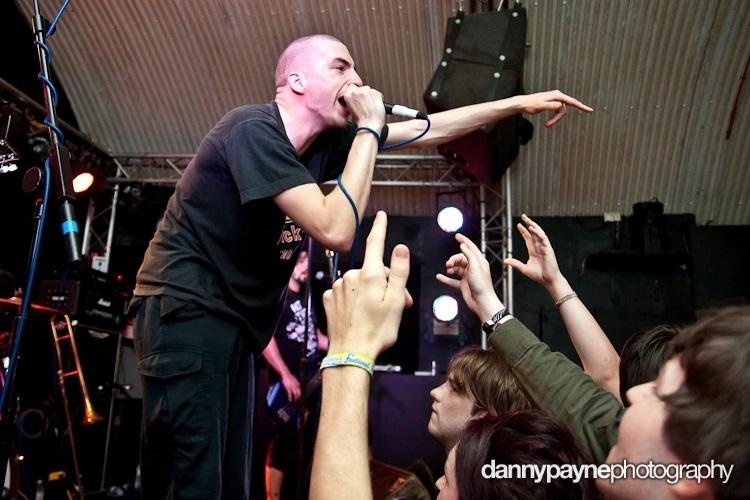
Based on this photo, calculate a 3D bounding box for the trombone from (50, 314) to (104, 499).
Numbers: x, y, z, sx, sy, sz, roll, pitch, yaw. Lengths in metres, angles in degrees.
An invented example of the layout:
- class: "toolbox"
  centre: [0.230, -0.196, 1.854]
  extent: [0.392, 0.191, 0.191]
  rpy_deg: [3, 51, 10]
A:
- class: "trombone"
  centre: [-2.324, 1.260, 3.823]
  extent: [0.385, 1.443, 0.371]
  rpy_deg: [-9, -2, -41]
